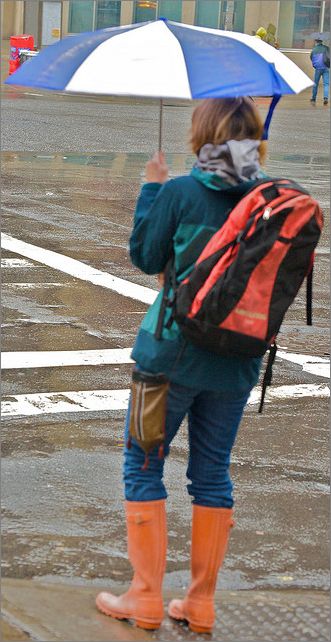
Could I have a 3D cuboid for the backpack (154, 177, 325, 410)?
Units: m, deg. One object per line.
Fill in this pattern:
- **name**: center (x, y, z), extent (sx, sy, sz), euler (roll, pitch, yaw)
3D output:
- **backpack**: center (0.260, -0.167, 2.076), extent (0.414, 0.580, 0.183), euler (9, 7, -2)
